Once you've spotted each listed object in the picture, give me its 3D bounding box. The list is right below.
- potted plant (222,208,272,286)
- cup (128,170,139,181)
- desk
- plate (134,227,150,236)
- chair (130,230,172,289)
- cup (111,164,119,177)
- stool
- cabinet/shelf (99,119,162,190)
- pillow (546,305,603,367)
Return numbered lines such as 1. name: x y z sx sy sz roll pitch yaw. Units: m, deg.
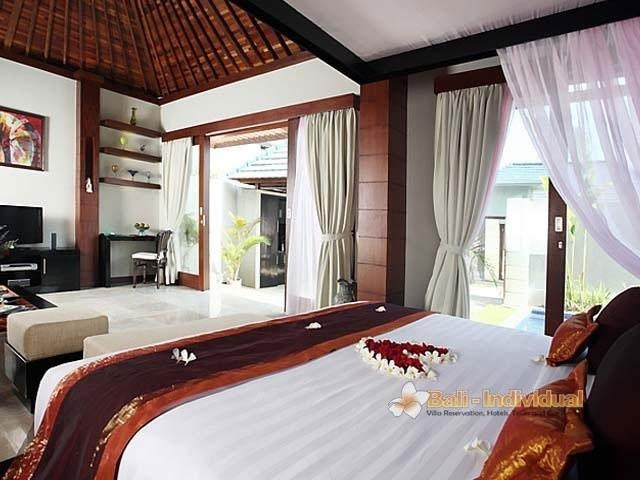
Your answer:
1. potted plant: -1.596 0.226 8.207 0.960 1.372 1.098 5 12 13
2. cup: -3.261 -1.133 7.037 0.162 0.171 0.158 -3 -3 0
3. desk: -3.223 0.342 6.748 0.312 0.843 0.849 1 2 33
4. plate: -3.094 -0.150 6.980 0.163 0.122 0.166 -2 -6 -14
5. chair: -2.826 0.320 6.844 0.619 0.977 0.990 -3 13 -21
6. cup: -3.454 -1.178 6.786 0.112 0.189 0.224 -3 13 -22
7. stool: -1.888 0.758 3.009 0.630 0.679 0.623 1 2 44
8. cabinet/shelf: -3.283 -1.488 6.911 0.363 1.221 1.269 -2 -2 35
9. pillow: 1.401 0.523 2.210 0.203 0.187 0.455 -14 4 33
